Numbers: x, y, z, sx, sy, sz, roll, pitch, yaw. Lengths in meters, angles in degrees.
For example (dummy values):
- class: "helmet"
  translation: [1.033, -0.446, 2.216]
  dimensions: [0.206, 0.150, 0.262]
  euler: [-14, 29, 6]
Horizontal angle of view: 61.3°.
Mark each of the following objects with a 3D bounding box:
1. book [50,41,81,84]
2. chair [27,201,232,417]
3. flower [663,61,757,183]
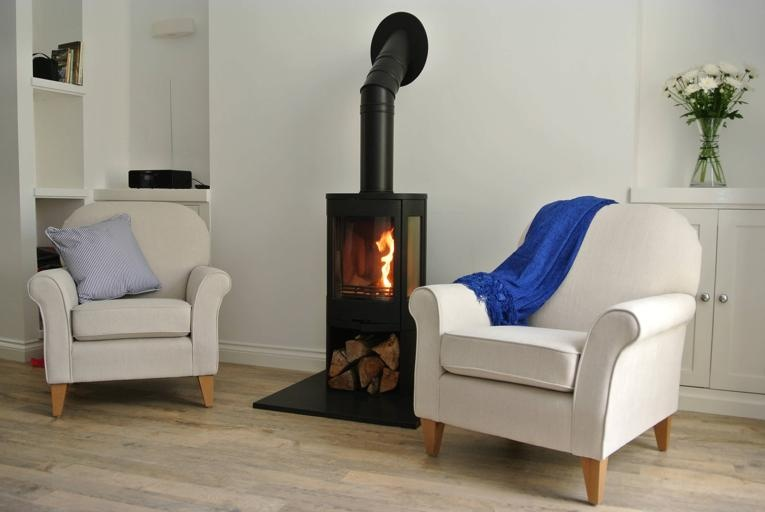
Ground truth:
- class: "book"
  translation: [-2.491, -1.522, 5.097]
  dimensions: [0.235, 0.337, 0.139]
  euler: [4, 9, 25]
- class: "chair"
  translation: [-1.501, 0.340, 4.532]
  dimensions: [1.316, 1.450, 1.376]
  euler: [0, -3, -12]
- class: "flower"
  translation: [2.013, -0.816, 4.060]
  dimensions: [0.510, 0.759, 0.381]
  euler: [5, 9, 28]
